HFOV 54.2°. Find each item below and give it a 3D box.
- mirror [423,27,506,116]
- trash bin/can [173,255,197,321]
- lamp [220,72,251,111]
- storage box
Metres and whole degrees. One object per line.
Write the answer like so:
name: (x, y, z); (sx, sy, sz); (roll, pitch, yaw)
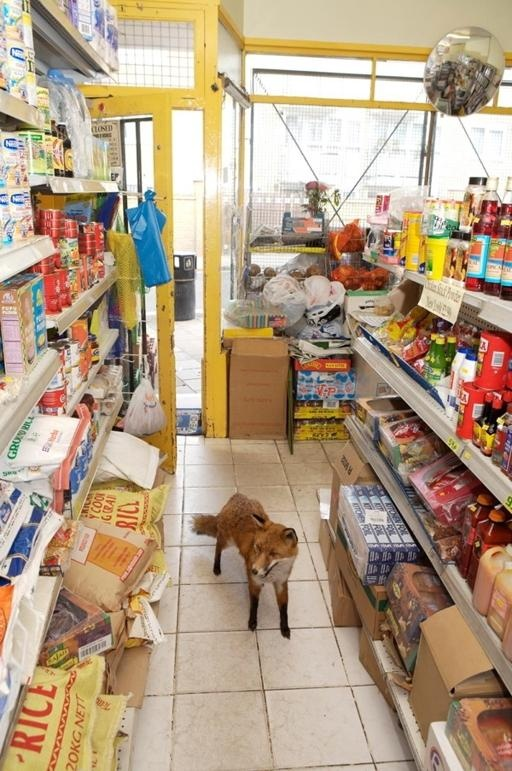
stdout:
mirror: (0.775, -1.159, 1.851); (0.293, 0.340, 0.083); (-13, 3, 2)
trash bin/can: (-1.040, -1.406, 7.328); (0.350, 1.011, 0.300); (-7, 21, -21)
lamp: (-0.138, -2.082, 3.547); (0.111, 0.160, 0.455); (-14, 3, 13)
storage box: (0.014, 0.000, 3.922); (0.511, 0.980, 0.523); (2, 38, -2)
